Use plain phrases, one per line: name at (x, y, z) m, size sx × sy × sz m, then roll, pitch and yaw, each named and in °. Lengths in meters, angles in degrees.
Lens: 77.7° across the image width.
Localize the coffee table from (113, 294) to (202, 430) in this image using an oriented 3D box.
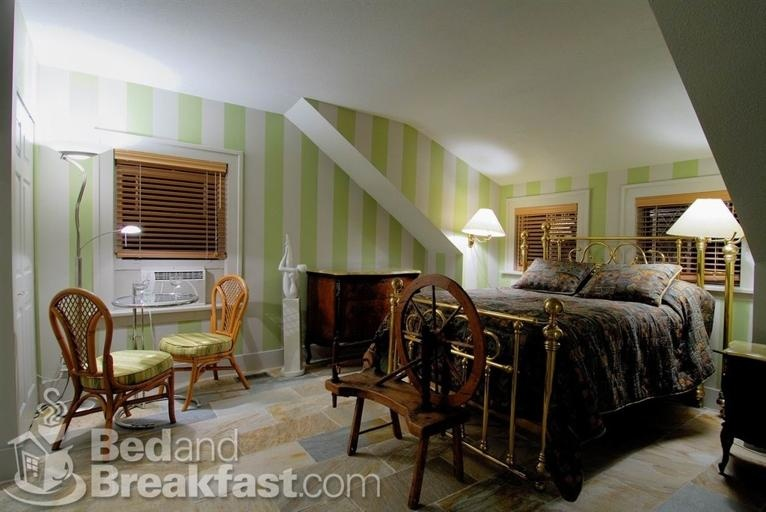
coffee table at (-2.280, 0.913, 4.512) m, size 0.731 × 0.912 × 0.734 m, roll -8°, pitch -6°, yaw -40°

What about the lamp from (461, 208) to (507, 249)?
lamp at (1.322, -0.361, 6.224) m, size 0.525 × 0.484 × 0.585 m, roll -1°, pitch -11°, yaw 44°

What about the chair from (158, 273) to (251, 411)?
chair at (-1.757, 0.750, 4.664) m, size 0.746 × 1.127 × 0.658 m, roll -1°, pitch 4°, yaw -44°

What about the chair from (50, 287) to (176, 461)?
chair at (-2.237, 0.859, 3.955) m, size 0.701 × 1.200 × 0.772 m, roll -1°, pitch 1°, yaw 30°

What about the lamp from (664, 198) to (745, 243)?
lamp at (3.096, -0.396, 4.499) m, size 0.469 × 0.267 × 0.481 m, roll 7°, pitch 11°, yaw 38°

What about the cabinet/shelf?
cabinet/shelf at (-0.249, 0.764, 5.748) m, size 1.192 × 1.170 × 0.807 m, roll 1°, pitch 3°, yaw -31°

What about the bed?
bed at (1.519, 0.671, 4.550) m, size 3.336 × 1.420 × 2.133 m, roll -3°, pitch 0°, yaw -38°
